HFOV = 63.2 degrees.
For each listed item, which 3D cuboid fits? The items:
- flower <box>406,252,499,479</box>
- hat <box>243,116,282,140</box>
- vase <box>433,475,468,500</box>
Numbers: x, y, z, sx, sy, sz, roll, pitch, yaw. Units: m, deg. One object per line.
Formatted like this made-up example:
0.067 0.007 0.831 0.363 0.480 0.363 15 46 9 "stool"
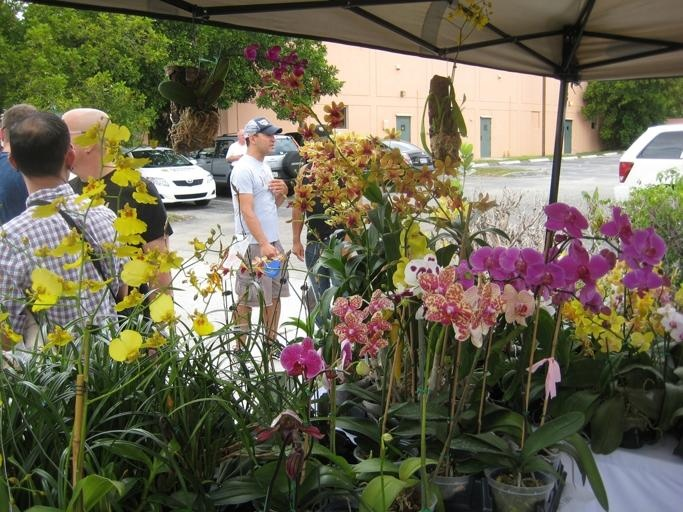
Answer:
0.264 0.261 1.308 0.204 0.583 0.432 2 12 16 "flower"
-0.504 -0.810 3.472 0.198 0.113 0.141 -3 16 6 "hat"
0.270 0.559 1.359 0.067 0.049 0.070 0 -7 -2 "vase"
